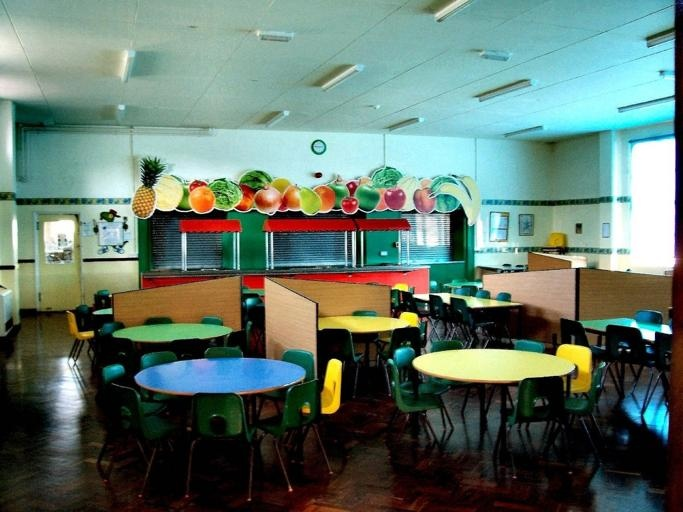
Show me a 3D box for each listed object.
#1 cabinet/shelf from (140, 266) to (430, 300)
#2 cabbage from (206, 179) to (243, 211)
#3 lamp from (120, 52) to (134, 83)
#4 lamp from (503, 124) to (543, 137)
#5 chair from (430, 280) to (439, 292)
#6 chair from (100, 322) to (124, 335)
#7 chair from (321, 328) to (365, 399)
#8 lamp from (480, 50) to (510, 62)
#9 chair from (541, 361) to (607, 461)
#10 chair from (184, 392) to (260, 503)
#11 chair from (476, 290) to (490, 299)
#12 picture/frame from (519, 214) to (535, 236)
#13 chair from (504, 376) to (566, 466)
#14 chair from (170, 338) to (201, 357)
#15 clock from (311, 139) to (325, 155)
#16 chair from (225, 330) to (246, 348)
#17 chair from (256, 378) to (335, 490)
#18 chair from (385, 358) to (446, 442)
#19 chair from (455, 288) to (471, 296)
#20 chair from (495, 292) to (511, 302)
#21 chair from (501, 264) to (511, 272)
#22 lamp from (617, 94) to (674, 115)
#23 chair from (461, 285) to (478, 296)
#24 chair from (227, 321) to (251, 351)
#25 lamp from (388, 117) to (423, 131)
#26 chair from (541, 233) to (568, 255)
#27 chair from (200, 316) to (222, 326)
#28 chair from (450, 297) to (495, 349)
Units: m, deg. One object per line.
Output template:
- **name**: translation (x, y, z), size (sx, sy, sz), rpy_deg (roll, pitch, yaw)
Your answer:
- **cabinet/shelf**: translation (-0.910, 0.646, 12.872), size (6.903, 0.909, 0.567), rpy_deg (-3, 9, -19)
- **cabbage**: translation (-2.867, -1.535, 13.028), size (0.913, 0.738, 0.367), rpy_deg (-6, -18, -26)
- **lamp**: translation (-3.504, -3.105, 8.624), size (0.186, 0.189, 1.473), rpy_deg (-5, 8, -26)
- **lamp**: translation (4.915, -3.374, 14.223), size (0.710, 0.137, 1.548), rpy_deg (-2, 7, -10)
- **chair**: translation (2.140, 0.700, 12.142), size (0.263, 0.263, 0.230), rpy_deg (1, -8, -7)
- **chair**: translation (-3.204, 0.997, 7.334), size (0.247, 0.232, 0.269), rpy_deg (1, 0, 40)
- **chair**: translation (0.013, 1.364, 7.173), size (0.555, 0.986, 0.875), rpy_deg (0, 9, 8)
- **lamp**: translation (2.507, -3.238, 8.541), size (0.468, 0.085, 0.587), rpy_deg (2, 7, 16)
- **chair**: translation (2.328, 1.326, 5.300), size (0.492, 0.441, 0.427), rpy_deg (-11, 5, -30)
- **chair**: translation (-1.146, 1.644, 4.886), size (0.645, 0.997, 0.750), rpy_deg (-3, 9, -12)
- **chair**: translation (2.724, 0.731, 10.115), size (0.182, 0.175, 0.189), rpy_deg (1, -2, 29)
- **picture/frame**: translation (5.598, -0.926, 15.910), size (0.600, 0.693, 0.125), rpy_deg (-6, 11, -28)
- **chair**: translation (2.015, 1.560, 5.364), size (0.538, 0.940, 0.942), rpy_deg (3, 9, 22)
- **chair**: translation (-1.911, 1.129, 6.555), size (0.339, 0.281, 0.267), rpy_deg (1, 7, -19)
- **clock**: translation (-0.621, -2.877, 13.905), size (0.477, 0.344, 0.097), rpy_deg (0, 6, -22)
- **chair**: translation (-1.440, 1.156, 7.282), size (0.309, 0.257, 0.248), rpy_deg (4, -7, -20)
- **chair**: translation (-0.441, 1.617, 5.116), size (0.695, 0.962, 0.853), rpy_deg (-1, 9, -2)
- **chair**: translation (0.700, 1.553, 5.643), size (0.762, 0.689, 0.637), rpy_deg (14, -4, 6)
- **chair**: translation (2.557, 0.741, 11.046), size (0.204, 0.206, 0.199), rpy_deg (-1, -5, 31)
- **chair**: translation (2.952, 0.748, 9.631), size (0.198, 0.155, 0.220), rpy_deg (5, 6, 29)
- **chair**: translation (4.635, 0.341, 14.839), size (0.249, 0.219, 0.210), rpy_deg (-1, -2, 41)
- **lamp**: translation (6.631, -3.297, 11.415), size (0.662, 0.140, 1.494), rpy_deg (-4, 8, -23)
- **chair**: translation (2.673, 0.715, 10.925), size (0.254, 0.250, 0.253), rpy_deg (-1, -5, 21)
- **chair**: translation (-1.440, 1.139, 7.447), size (0.493, 0.421, 0.402), rpy_deg (2, -5, -18)
- **lamp**: translation (1.563, -3.303, 13.183), size (0.545, 0.164, 1.479), rpy_deg (-3, 8, -18)
- **chair**: translation (6.433, -0.361, 15.848), size (0.465, 0.629, 0.819), rpy_deg (4, -4, -32)
- **chair**: translation (-1.897, 0.962, 7.728), size (0.190, 0.146, 0.208), rpy_deg (5, -10, -5)
- **chair**: translation (2.354, 1.203, 9.469), size (0.788, 0.947, 1.731), rpy_deg (1, 8, 11)
